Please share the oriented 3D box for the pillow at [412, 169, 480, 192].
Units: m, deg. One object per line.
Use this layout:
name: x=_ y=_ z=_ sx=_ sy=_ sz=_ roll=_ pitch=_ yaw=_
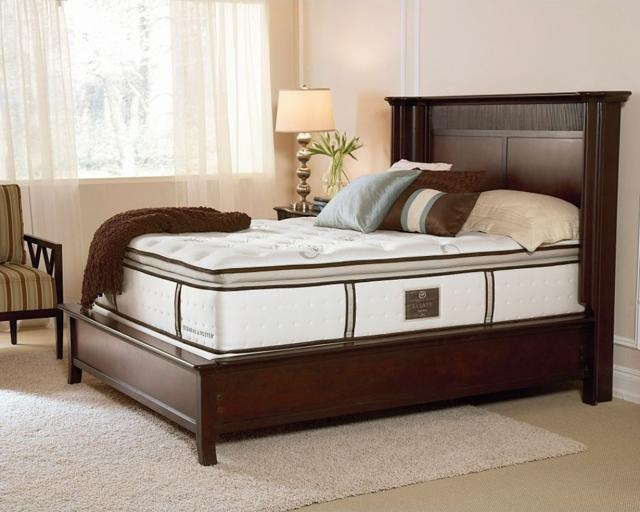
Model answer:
pillow: x=0.755 y=-0.439 z=3.130 sx=0.282 sy=0.074 sz=0.170 roll=2 pitch=37 yaw=29
